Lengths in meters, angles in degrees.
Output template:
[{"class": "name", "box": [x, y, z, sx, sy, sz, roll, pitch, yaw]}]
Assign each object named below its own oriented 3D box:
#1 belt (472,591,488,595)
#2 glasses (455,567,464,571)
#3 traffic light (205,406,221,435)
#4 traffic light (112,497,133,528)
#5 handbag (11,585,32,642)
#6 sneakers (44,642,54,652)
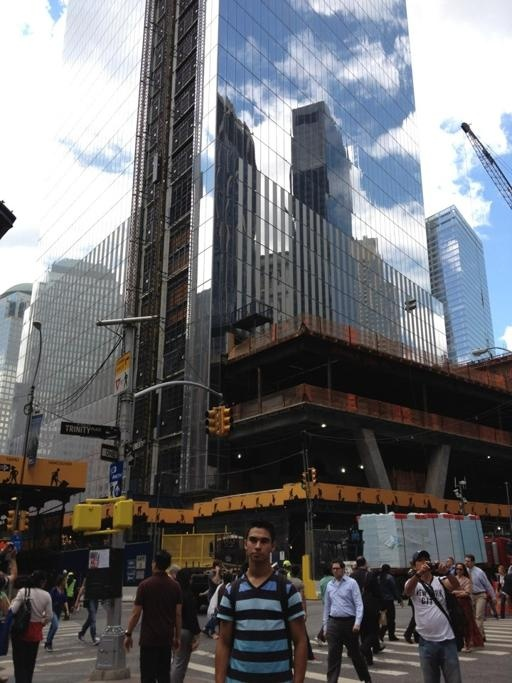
[{"class": "belt", "box": [5.471, 6.203, 13.769, 0.276, 0.068, 0.268, 6, -20, -9]}, {"class": "glasses", "box": [4.657, 5.210, 12.825, 0.144, 0.083, 0.200, -10, -44, 31]}, {"class": "traffic light", "box": [-1.442, 2.618, 18.621, 0.443, 0.949, 0.745, 1, -21, -6]}, {"class": "traffic light", "box": [-2.070, 2.684, 8.732, 0.282, 0.464, 0.659, 4, -22, -14]}, {"class": "handbag", "box": [-2.752, 3.234, 6.602, 0.201, 0.487, 0.392, 6, -22, -19]}, {"class": "sneakers", "box": [-4.675, 6.913, 12.625, 0.146, 0.198, 0.441, 10, -35, -17]}]
